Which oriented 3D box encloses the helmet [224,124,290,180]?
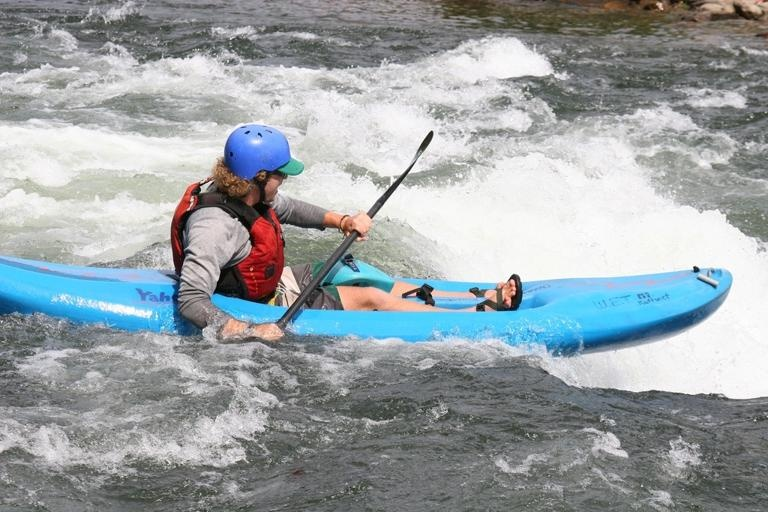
[{"bbox_3d":[-1.144,-0.933,8.260,0.463,0.479,0.390,-11,30,-44],"label":"helmet"}]
